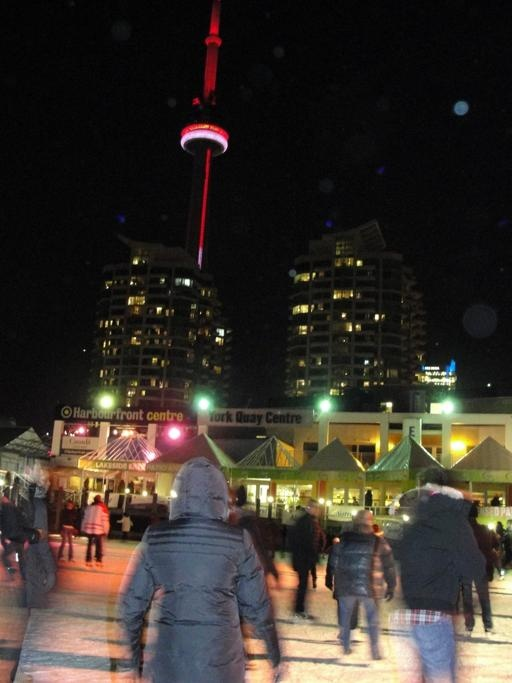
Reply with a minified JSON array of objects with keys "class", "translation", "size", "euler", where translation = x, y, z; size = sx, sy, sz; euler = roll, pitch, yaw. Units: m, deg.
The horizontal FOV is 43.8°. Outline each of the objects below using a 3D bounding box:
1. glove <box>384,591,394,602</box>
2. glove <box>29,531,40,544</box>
[{"class":"glove","translation":[1.400,2.695,6.713],"size":[0.070,0.100,0.108],"euler":[4,12,7]},{"class":"glove","translation":[-2.092,1.848,6.011],"size":[0.095,0.123,0.033],"euler":[-4,-55,6]}]
